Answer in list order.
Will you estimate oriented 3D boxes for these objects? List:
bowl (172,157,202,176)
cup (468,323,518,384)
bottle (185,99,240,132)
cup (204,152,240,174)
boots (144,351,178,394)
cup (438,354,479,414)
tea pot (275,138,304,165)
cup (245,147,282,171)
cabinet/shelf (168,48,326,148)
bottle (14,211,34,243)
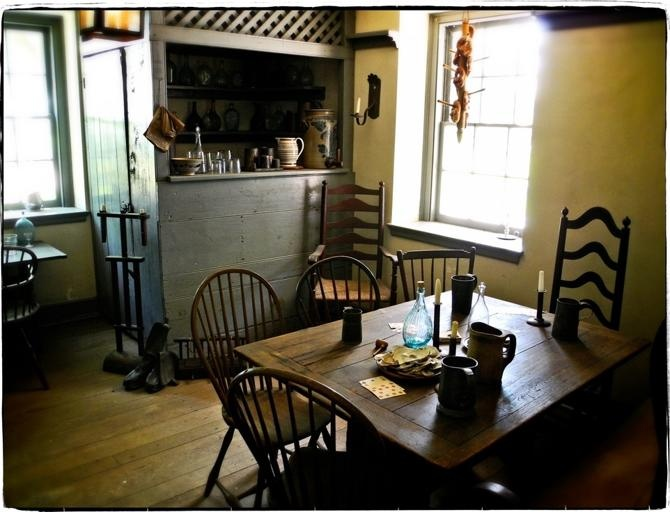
[{"bbox_3d":[-1.106,-0.667,3.689,0.222,0.124,0.206,-1,11,0],"label":"bowl"},{"bbox_3d":[0.619,0.397,2.120,0.259,0.278,0.177,2,10,12],"label":"cup"},{"bbox_3d":[-1.097,-1.285,4.559,0.321,0.293,0.551,9,15,41],"label":"bottle"},{"bbox_3d":[-0.877,-0.740,3.923,0.273,0.177,0.397,-1,11,0],"label":"cup"},{"bbox_3d":[-1.162,0.833,3.538,0.143,0.242,0.345,1,0,21],"label":"boots"},{"bbox_3d":[0.456,0.481,1.857,0.135,0.202,0.097,1,12,8],"label":"cup"},{"bbox_3d":[-0.395,-0.919,4.367,0.303,0.290,0.213,-6,11,-37],"label":"tea pot"},{"bbox_3d":[-0.580,-0.811,4.185,0.339,0.235,0.188,-3,7,-31],"label":"cup"},{"bbox_3d":[-0.894,-1.490,4.545,1.572,1.018,0.838,-7,13,-37],"label":"cabinet/shelf"},{"bbox_3d":[-2.568,-0.215,4.109,0.130,0.221,0.224,-3,12,-12],"label":"bottle"}]
